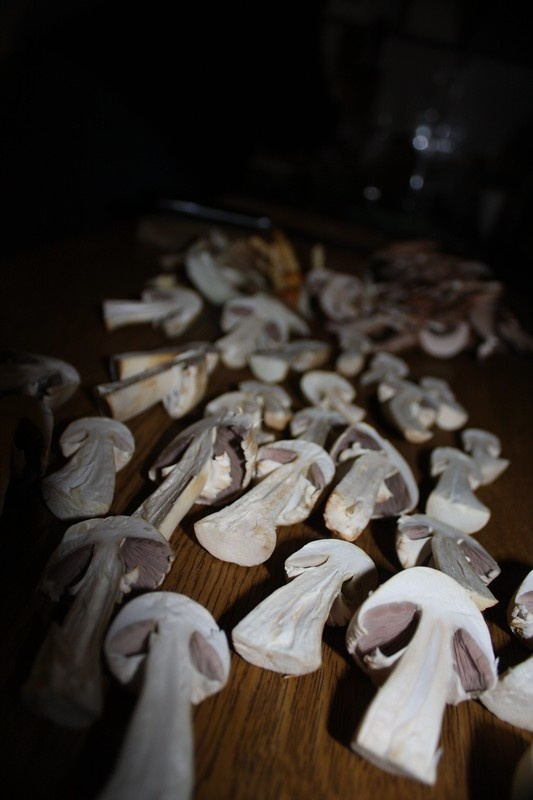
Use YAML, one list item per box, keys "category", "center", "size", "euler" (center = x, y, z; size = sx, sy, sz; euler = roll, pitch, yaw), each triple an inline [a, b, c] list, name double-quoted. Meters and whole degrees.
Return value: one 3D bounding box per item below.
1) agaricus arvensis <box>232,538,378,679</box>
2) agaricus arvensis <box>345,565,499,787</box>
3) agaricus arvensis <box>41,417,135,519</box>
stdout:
- category: "agaricus arvensis"
  center: [0.047, 0.194, 0.648]
  size: [0.092, 0.043, 0.166]
  euler: [19, 39, 27]
- category: "agaricus arvensis"
  center: [0.130, 0.231, 0.570]
  size: [0.128, 0.052, 0.167]
  euler: [19, 59, 1]
- category: "agaricus arvensis"
  center: [-0.195, 0.073, 0.745]
  size: [0.087, 0.046, 0.163]
  euler: [3, 27, -1]
